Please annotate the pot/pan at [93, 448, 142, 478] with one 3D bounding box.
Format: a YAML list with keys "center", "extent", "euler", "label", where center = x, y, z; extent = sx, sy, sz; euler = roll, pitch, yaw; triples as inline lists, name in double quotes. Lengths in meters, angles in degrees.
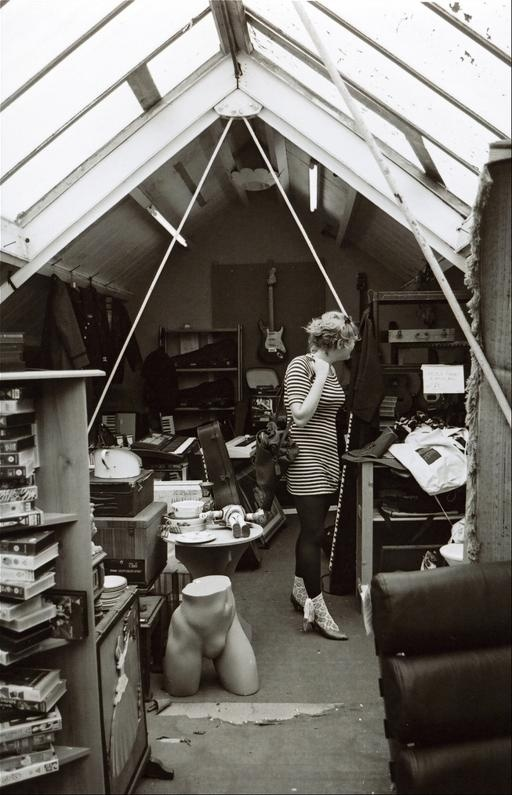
- center: [-0.603, 0.291, 3.040]
  extent: [0.109, 0.108, 0.167]
  euler: [2, 4, 16]
  label: "pot/pan"

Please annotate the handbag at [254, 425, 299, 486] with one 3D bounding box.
- center: [0.102, 0.250, 3.190]
  extent: [0.193, 0.256, 0.155]
  euler: [-1, 0, 12]
  label: "handbag"

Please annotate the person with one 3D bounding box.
- center: [0.283, 0.358, 3.292]
  extent: [0.370, 1.466, 0.409]
  euler: [-1, 0, -29]
  label: "person"

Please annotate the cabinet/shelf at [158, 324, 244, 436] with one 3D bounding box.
- center: [-0.580, -0.186, 7.322]
  extent: [0.917, 1.140, 0.738]
  euler: [-1, 0, -3]
  label: "cabinet/shelf"

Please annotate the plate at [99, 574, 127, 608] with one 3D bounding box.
- center: [-0.451, 0.604, 2.153]
  extent: [0.074, 0.031, 0.080]
  euler: [1, 6, -10]
  label: "plate"

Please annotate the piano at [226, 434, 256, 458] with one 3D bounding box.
- center: [-0.112, 0.400, 5.244]
  extent: [0.206, 0.164, 0.870]
  euler: [-1, 0, -2]
  label: "piano"

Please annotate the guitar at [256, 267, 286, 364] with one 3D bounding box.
- center: [0.165, -0.860, 7.382]
  extent: [0.301, 1.189, 0.110]
  euler: [2, 37, 7]
  label: "guitar"

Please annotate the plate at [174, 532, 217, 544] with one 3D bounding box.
- center: [-0.242, 0.560, 2.731]
  extent: [0.161, 0.045, 0.164]
  euler: [-1, 0, -4]
  label: "plate"
